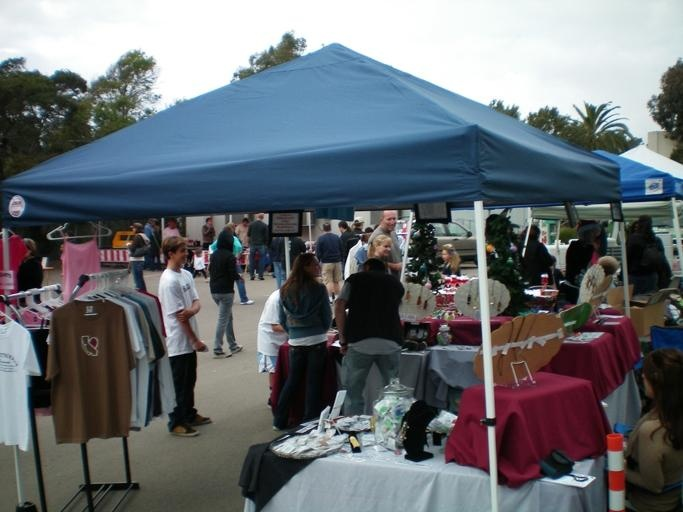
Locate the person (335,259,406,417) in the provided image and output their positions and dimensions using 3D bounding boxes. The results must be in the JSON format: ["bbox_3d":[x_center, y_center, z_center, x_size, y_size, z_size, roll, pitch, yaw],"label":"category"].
[{"bbox_3d":[0.265,0.861,5.725,0.658,1.699,0.510,7,-25,-10],"label":"person"}]

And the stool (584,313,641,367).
[{"bbox_3d":[2.909,0.873,6.617,0.550,0.377,0.666,-1,4,40],"label":"stool"}]

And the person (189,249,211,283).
[{"bbox_3d":[-4.533,0.274,19.422,0.429,1.003,0.341,5,24,13],"label":"person"}]

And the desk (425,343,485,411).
[{"bbox_3d":[1.127,1.118,6.338,0.679,0.738,0.700,-1,-2,27],"label":"desk"}]

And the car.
[{"bbox_3d":[3.695,-0.369,21.686,3.265,1.893,1.642,-4,-6,-16],"label":"car"}]

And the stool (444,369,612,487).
[{"bbox_3d":[1.204,1.029,4.150,0.720,0.398,0.734,-2,2,43],"label":"stool"}]

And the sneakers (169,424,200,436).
[{"bbox_3d":[-1.706,1.883,6.569,0.284,0.130,0.132,0,-1,3],"label":"sneakers"}]

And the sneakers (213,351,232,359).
[{"bbox_3d":[-1.871,1.555,9.539,0.268,0.104,0.204,-7,-15,-5],"label":"sneakers"}]

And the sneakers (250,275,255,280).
[{"bbox_3d":[-2.787,0.654,18.770,0.120,0.203,0.114,3,8,28],"label":"sneakers"}]

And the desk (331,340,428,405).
[{"bbox_3d":[0.525,1.214,6.156,0.605,0.516,0.644,0,0,25],"label":"desk"}]

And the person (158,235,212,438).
[{"bbox_3d":[-1.624,0.830,6.425,0.518,2.059,0.583,0,3,8],"label":"person"}]

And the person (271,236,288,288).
[{"bbox_3d":[-1.380,0.138,13.661,0.436,1.381,0.317,-1,5,30],"label":"person"}]

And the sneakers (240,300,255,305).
[{"bbox_3d":[-2.194,1.057,14.087,0.308,0.157,0.120,-1,3,-5],"label":"sneakers"}]

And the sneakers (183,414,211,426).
[{"bbox_3d":[-1.625,1.854,6.898,0.246,0.118,0.096,0,-1,-13],"label":"sneakers"}]

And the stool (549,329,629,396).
[{"bbox_3d":[2.355,0.988,5.835,0.622,0.355,0.663,-2,4,29],"label":"stool"}]

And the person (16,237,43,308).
[{"bbox_3d":[-4.075,0.385,7.966,0.338,1.267,0.327,3,21,-26],"label":"person"}]

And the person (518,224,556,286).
[{"bbox_3d":[3.202,0.048,9.987,0.554,1.203,0.574,-8,9,-31],"label":"person"}]
